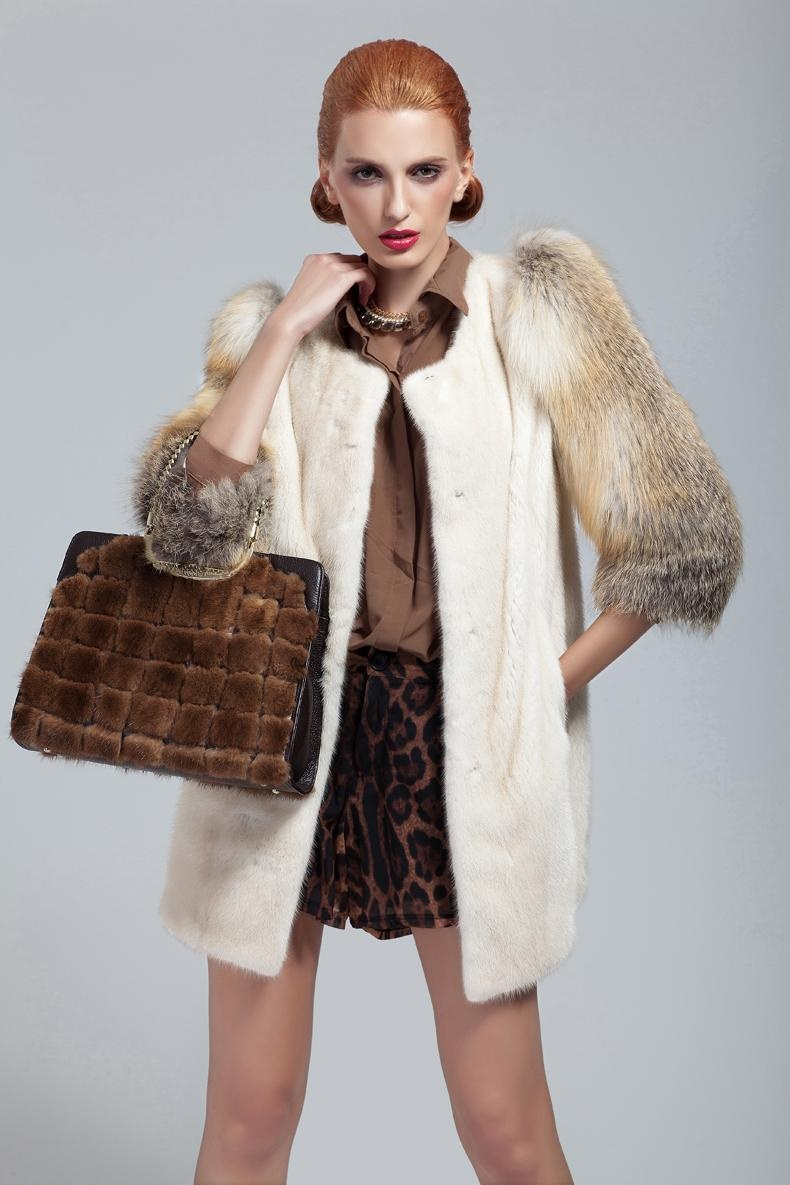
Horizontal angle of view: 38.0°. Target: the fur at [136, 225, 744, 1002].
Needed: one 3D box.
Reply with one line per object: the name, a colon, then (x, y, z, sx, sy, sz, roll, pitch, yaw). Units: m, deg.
fur: (0.085, 0.034, 1.810, 1.046, 1.137, 0.414, 6, 9, 38)
